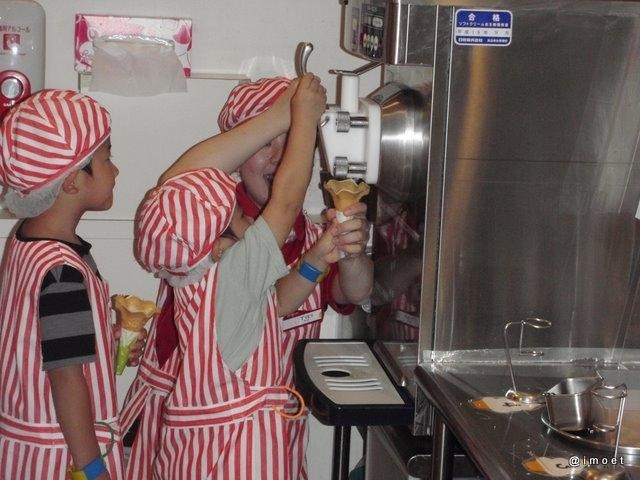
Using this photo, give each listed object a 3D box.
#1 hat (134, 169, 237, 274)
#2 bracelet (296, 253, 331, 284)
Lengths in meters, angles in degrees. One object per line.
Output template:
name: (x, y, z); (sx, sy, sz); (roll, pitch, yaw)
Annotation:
hat: (-0.250, -0.029, 1.062); (0.160, 0.214, 0.077); (-6, -17, 28)
bracelet: (-0.008, 0.069, 1.194); (0.060, 0.044, 0.063); (28, 5, -25)
